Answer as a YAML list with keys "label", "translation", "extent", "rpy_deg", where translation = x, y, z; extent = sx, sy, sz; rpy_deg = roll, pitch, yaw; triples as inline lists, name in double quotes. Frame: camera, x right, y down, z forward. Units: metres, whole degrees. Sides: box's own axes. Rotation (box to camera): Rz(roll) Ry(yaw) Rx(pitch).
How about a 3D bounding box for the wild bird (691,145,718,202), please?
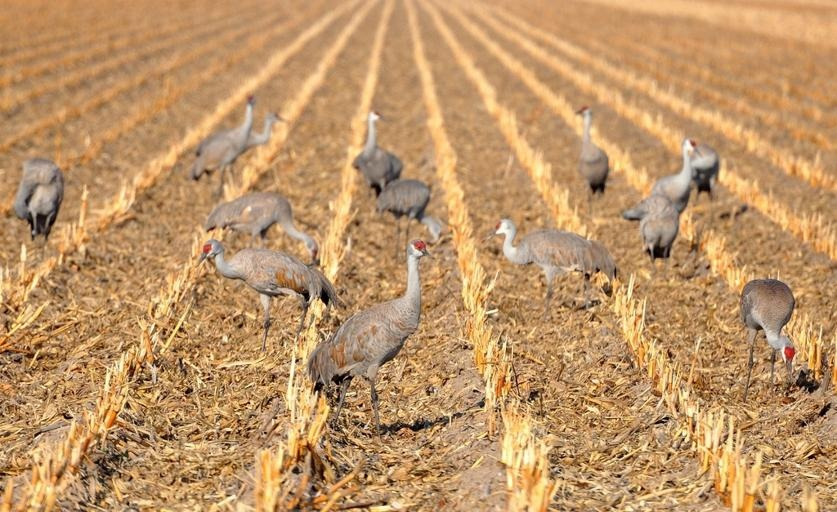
- label: "wild bird"
  translation: [5.767, -1.808, 18.958]
  extent: [0.337, 0.749, 1.108]
  rpy_deg: [10, -4, 36]

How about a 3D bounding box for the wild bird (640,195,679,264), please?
- label: "wild bird"
  translation: [4.432, -0.483, 17.160]
  extent: [0.646, 1.132, 0.710]
  rpy_deg: [13, 41, 11]
